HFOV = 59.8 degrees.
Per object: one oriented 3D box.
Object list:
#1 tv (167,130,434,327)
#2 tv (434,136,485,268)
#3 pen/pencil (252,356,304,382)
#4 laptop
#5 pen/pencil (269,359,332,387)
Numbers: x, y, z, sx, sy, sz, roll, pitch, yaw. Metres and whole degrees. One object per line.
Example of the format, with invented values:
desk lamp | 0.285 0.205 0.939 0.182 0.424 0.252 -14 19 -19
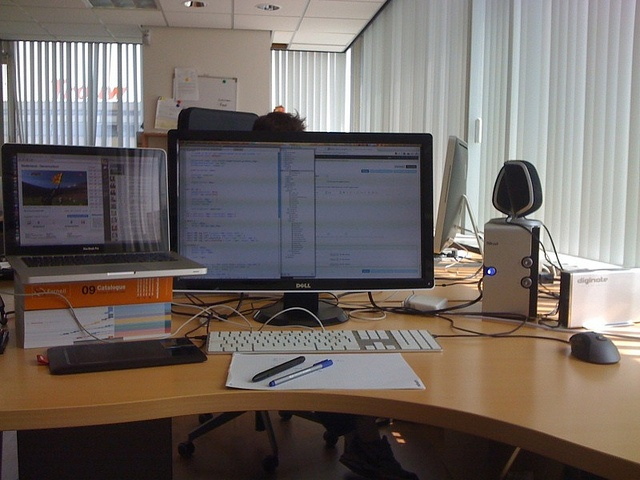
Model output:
tv | -0.055 -0.043 1.683 0.784 0.539 0.258 0 8 -3
tv | 0.706 -0.169 2.748 0.337 0.648 0.730 1 7 14
pen/pencil | -0.100 0.313 1.335 0.016 0.022 0.148 24 23 35
laptop | -0.687 -0.039 1.655 0.503 0.355 0.405 -1 10 -20
pen/pencil | -0.048 0.321 1.326 0.021 0.024 0.182 -7 3 42
